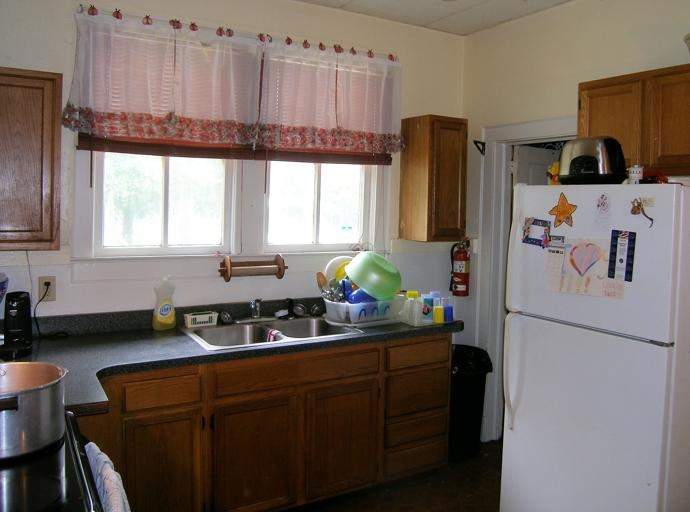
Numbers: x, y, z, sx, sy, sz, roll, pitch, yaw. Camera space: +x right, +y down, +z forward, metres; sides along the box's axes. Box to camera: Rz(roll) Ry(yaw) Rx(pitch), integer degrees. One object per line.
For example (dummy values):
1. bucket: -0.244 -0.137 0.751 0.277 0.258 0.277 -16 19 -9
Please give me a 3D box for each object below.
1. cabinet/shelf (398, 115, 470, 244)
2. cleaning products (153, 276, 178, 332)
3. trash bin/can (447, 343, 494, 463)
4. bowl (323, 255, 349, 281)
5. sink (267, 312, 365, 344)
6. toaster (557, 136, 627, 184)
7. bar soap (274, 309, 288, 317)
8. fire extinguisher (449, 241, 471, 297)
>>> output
1. cabinet/shelf: 0.622 -0.546 3.868 0.505 0.894 0.244 -1 6 8
2. cleaning products: -1.104 0.287 3.263 0.143 0.310 0.100 -2 6 -5
3. trash bin/can: 0.922 1.066 3.945 0.285 0.706 0.469 0 7 15
4. bowl: -0.064 0.075 3.686 0.041 0.160 0.161 12 43 37
5. sink: -0.191 0.476 3.467 0.257 0.124 0.309 -3 5 -33
6. toaster: 1.269 -0.480 2.785 0.314 0.242 0.230 3 -1 44
7. bar soap: -0.425 0.373 3.550 0.049 0.022 0.050 -12 3 27
8. fire extinguisher: 0.887 0.092 4.152 0.146 0.433 0.128 0 6 17
